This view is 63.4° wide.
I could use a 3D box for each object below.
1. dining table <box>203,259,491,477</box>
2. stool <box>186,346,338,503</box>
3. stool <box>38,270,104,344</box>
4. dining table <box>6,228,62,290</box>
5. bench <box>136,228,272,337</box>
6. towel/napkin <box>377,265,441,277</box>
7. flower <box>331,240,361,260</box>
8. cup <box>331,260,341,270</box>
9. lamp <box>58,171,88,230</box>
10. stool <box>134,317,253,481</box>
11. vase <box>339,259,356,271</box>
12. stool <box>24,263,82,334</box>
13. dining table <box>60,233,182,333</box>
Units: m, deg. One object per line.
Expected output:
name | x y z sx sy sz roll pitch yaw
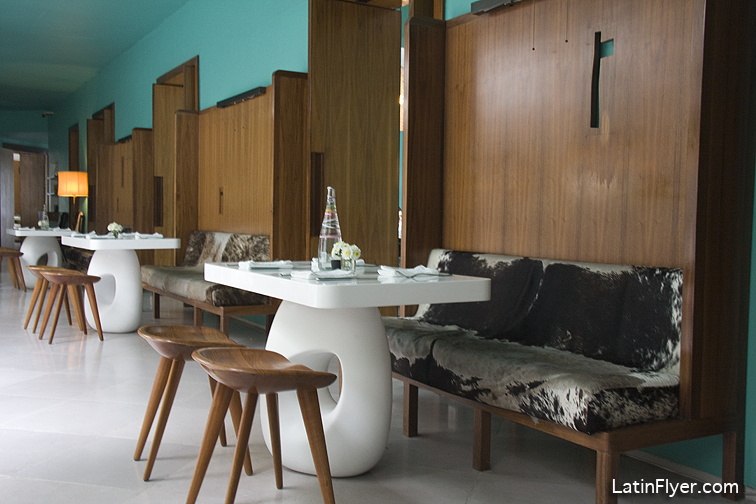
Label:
dining table | -0.239 0.642 3.415 1.373 0.951 1.098 4 -4 34
stool | -0.572 0.812 2.862 0.567 0.747 0.623 0 2 -32
stool | -2.854 0.439 5.758 0.508 0.604 0.458 -3 11 -25
dining table | -4.921 0.024 8.993 0.928 0.830 0.909 4 7 -21
bench | -1.842 0.243 6.429 0.802 0.933 2.244 -3 5 -40
towel/napkin | 0.155 0.088 3.113 0.301 0.049 0.263 2 1 7
flower | -0.159 -0.021 3.127 0.101 0.096 0.137 2 2 38
cup | -0.220 0.054 3.119 0.043 0.041 0.023 3 9 10
lamp | -5.776 -0.950 11.489 0.492 1.105 0.509 4 4 37
stool | -1.153 0.743 3.327 0.756 0.852 0.747 4 1 -34
vase | -0.162 0.054 3.113 0.064 0.062 0.060 0 4 -23
stool | -3.394 0.481 6.352 0.471 0.544 0.512 8 -1 23
dining table | -2.658 0.325 6.061 1.227 0.922 1.230 4 -1 36
